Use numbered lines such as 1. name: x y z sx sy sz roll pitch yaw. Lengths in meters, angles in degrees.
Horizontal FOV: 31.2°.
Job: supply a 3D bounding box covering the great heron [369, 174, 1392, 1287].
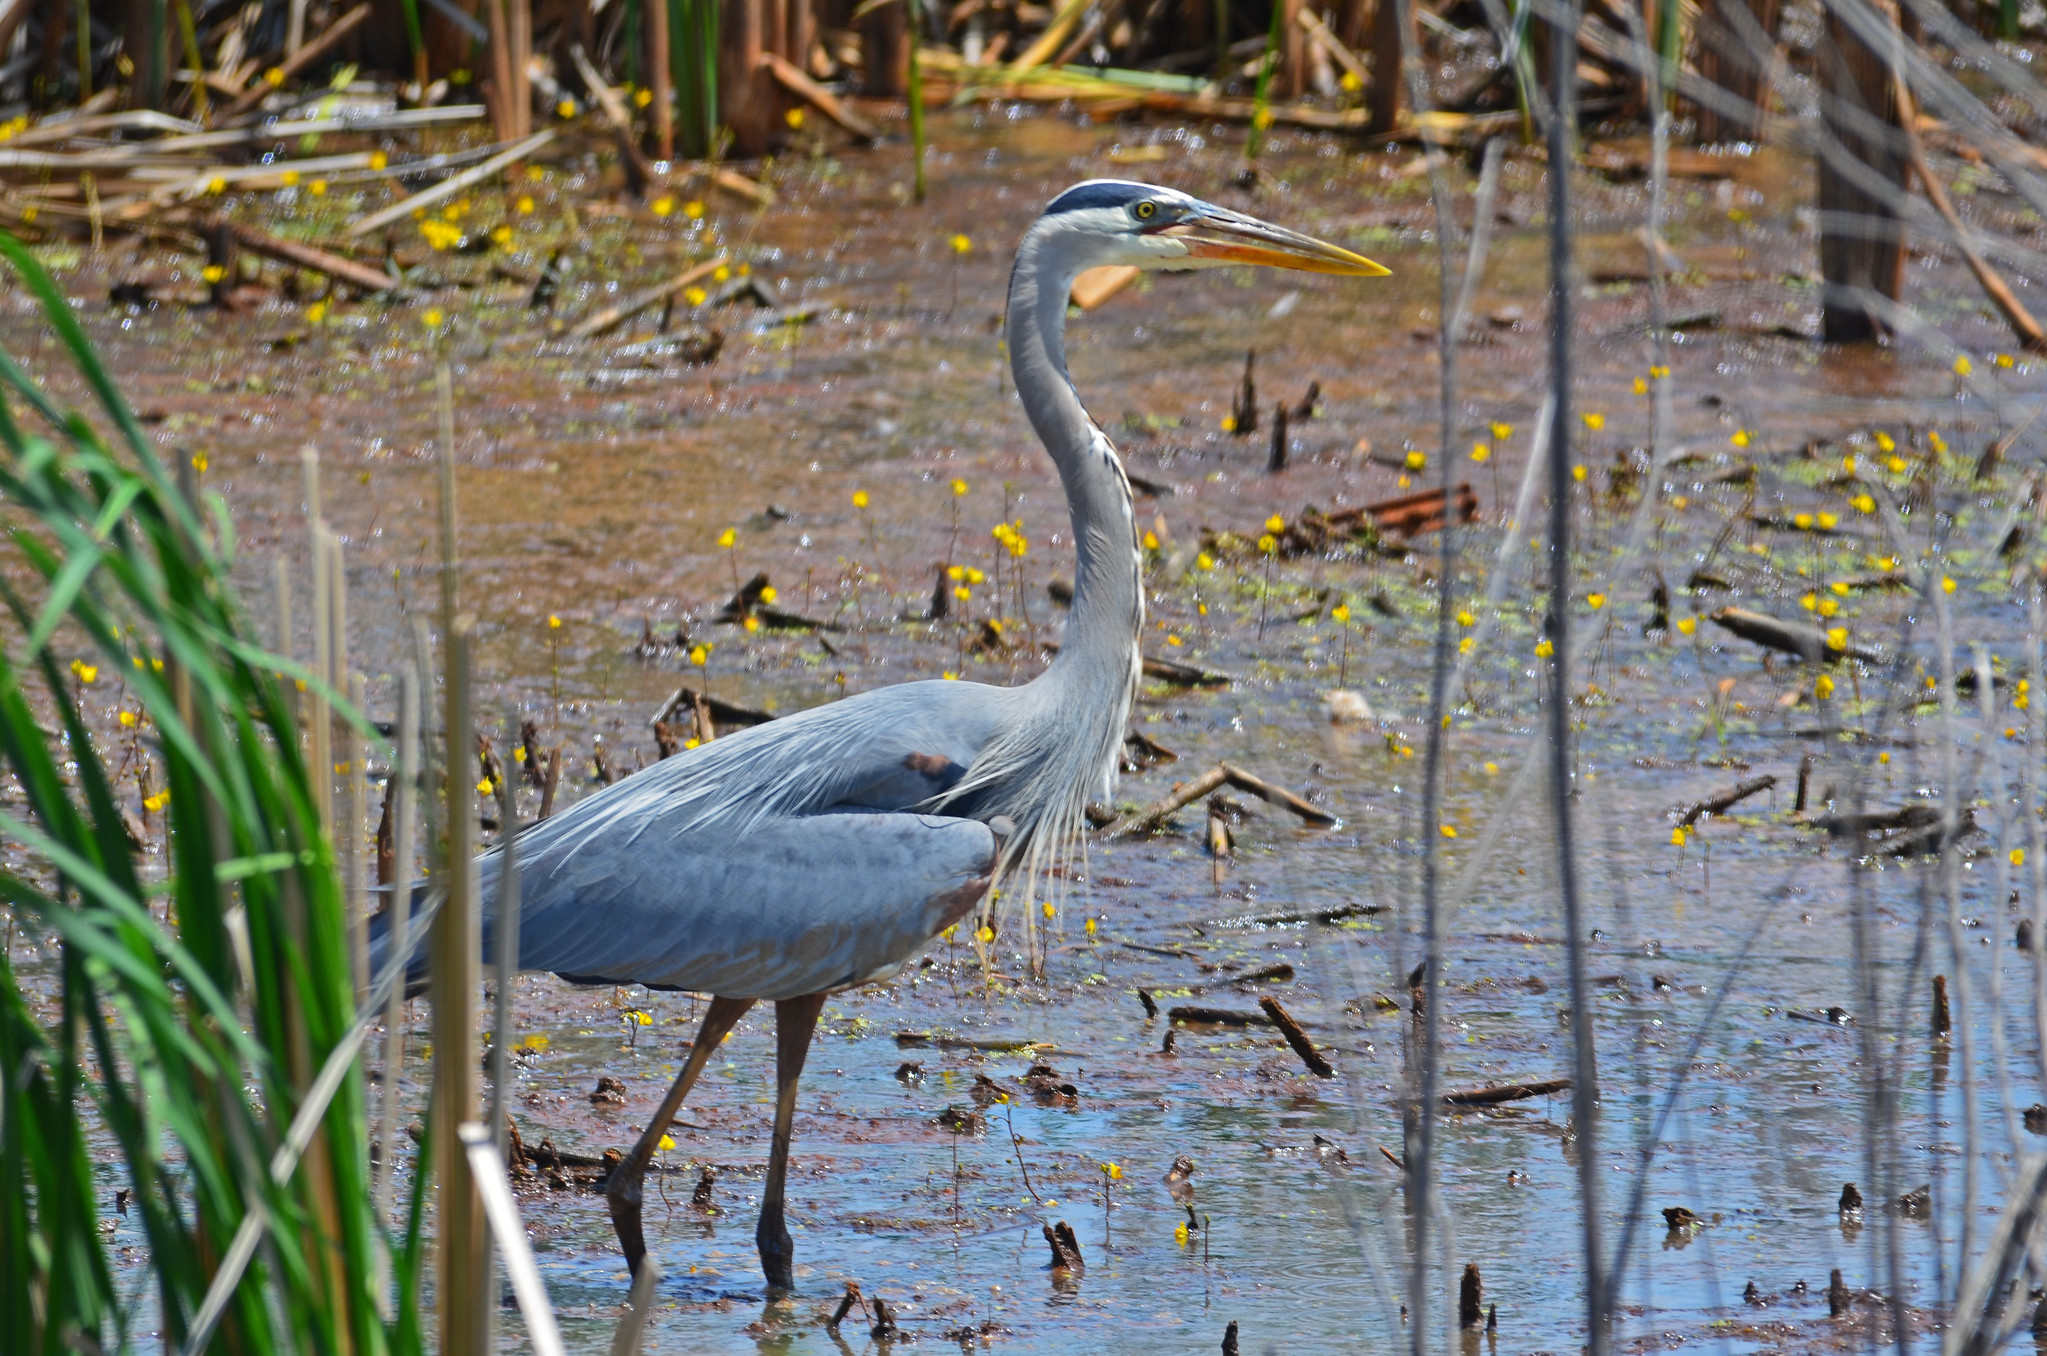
1. great heron: -0.425 0.116 10.961 2.179 3.332 0.624 2 -5 -25
